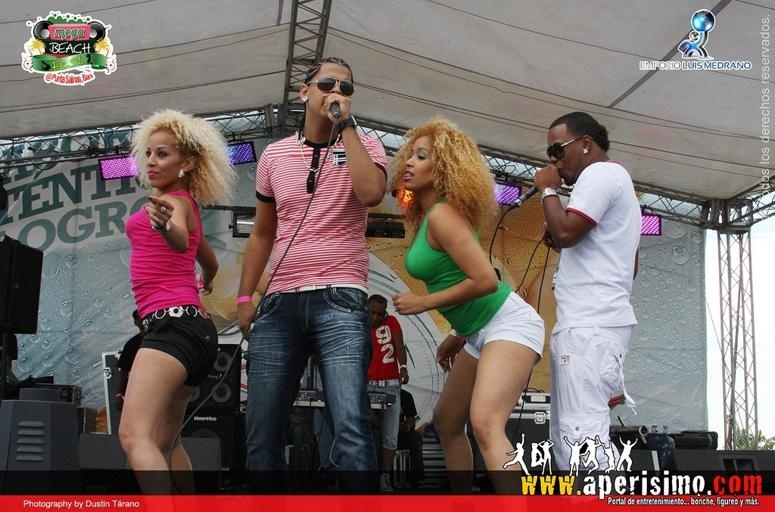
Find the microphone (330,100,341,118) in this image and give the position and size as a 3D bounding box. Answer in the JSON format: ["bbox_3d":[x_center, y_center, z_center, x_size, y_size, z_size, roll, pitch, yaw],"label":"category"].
[{"bbox_3d":[-0.347,-0.987,4.824,0.047,0.156,0.041,-41,-55,20],"label":"microphone"}]

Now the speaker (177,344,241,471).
[{"bbox_3d":[-1.998,1.675,8.030,0.842,1.257,0.790,3,-6,-21],"label":"speaker"}]
